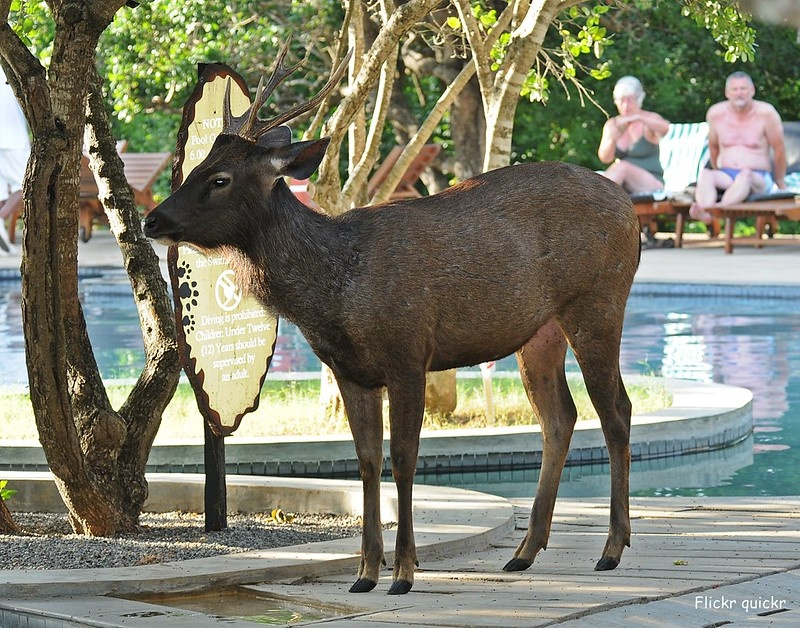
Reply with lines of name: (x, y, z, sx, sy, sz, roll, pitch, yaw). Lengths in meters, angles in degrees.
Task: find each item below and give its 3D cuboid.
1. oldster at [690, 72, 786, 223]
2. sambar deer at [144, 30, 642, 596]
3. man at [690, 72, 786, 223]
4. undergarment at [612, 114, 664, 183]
oldster: (4.977, -2.505, 26.599, 1.256, 1.807, 2.729, 5, 20, 23)
sambar deer: (-0.034, 0.105, 10.390, 3.640, 3.072, 1.144, -5, 7, -40)
man: (4.956, -2.523, 26.551, 1.287, 1.870, 2.629, 5, 20, 22)
undergarment: (3.934, -2.497, 28.471, 0.503, 0.805, 0.635, 3, -3, 21)
